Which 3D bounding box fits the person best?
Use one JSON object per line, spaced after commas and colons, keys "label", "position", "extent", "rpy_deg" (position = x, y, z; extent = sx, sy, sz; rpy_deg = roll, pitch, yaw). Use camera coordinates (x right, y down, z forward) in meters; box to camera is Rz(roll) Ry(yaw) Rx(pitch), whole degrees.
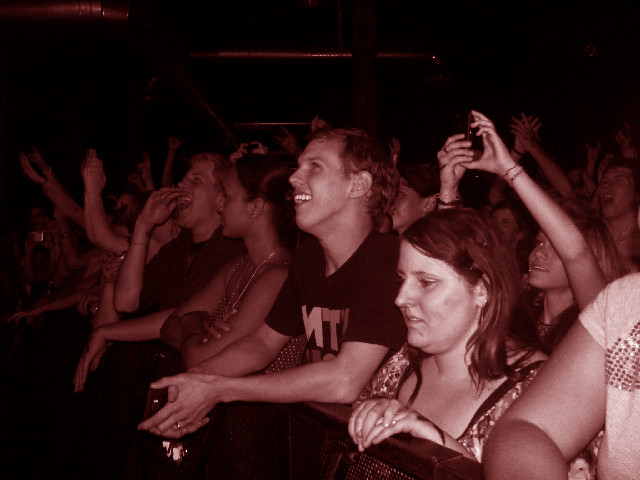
{"label": "person", "position": [-0.209, 0.130, 2.815], "extent": [2.741, 1.196, 1.564], "rpy_deg": [-4, 10, 33]}
